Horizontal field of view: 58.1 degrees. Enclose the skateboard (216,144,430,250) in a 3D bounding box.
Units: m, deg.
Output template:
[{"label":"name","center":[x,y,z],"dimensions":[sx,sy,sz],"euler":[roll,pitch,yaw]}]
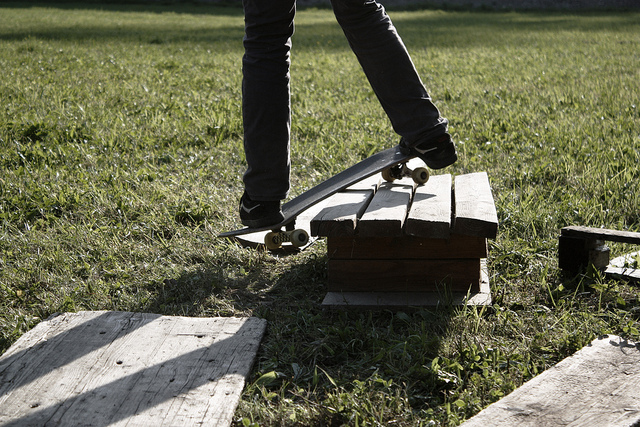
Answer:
[{"label":"skateboard","center":[0.021,-0.086,3.738],"dimensions":[1.126,0.185,0.270],"euler":[-32,21,-5]}]
